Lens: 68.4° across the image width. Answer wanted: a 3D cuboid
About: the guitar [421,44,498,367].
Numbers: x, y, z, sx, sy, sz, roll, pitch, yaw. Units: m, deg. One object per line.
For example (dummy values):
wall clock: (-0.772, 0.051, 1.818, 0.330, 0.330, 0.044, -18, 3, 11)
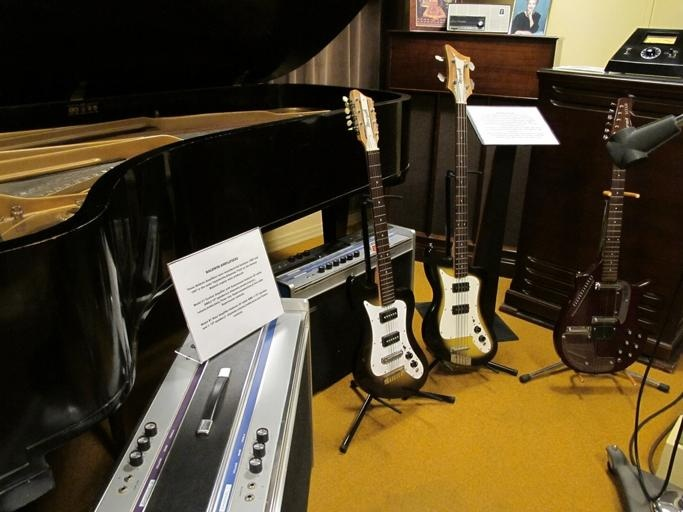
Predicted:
guitar: (0.553, -0.202, 2.473, 0.380, 1.454, 0.488, -6, 26, -9)
